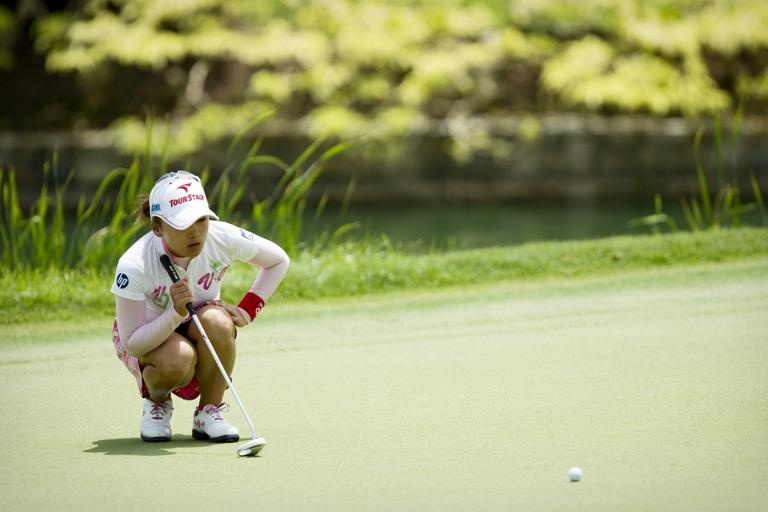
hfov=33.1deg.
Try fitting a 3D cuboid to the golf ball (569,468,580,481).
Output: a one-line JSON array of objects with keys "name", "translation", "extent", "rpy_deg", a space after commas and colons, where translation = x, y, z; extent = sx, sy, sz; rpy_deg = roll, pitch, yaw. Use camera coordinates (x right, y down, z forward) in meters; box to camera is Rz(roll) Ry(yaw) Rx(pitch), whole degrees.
[{"name": "golf ball", "translation": [0.982, 1.137, 6.652], "extent": [0.055, 0.054, 0.056], "rpy_deg": [-11, 12, 2]}]

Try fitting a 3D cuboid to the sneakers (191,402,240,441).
[{"name": "sneakers", "translation": [-0.923, 0.922, 7.083], "extent": [0.330, 0.166, 0.129], "rpy_deg": [-3, -4, 44]}]

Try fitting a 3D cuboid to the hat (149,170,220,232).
[{"name": "hat", "translation": [-1.056, -0.287, 6.802], "extent": [0.249, 0.218, 0.371], "rpy_deg": [-11, 13, -33]}]
